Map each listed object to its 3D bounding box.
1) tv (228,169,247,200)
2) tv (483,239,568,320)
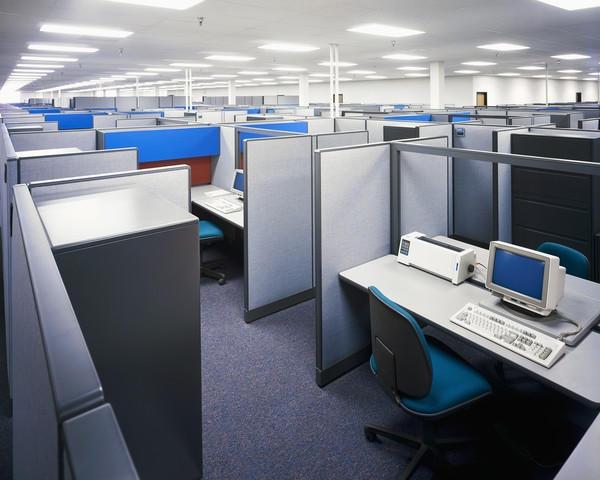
[{"bbox_3d":[-0.564,-0.492,3.762,0.097,0.264,0.339,-3,10,-20],"label":"tv"},{"bbox_3d":[1.020,0.193,1.899,0.133,0.232,0.241,-4,21,-38],"label":"tv"}]
